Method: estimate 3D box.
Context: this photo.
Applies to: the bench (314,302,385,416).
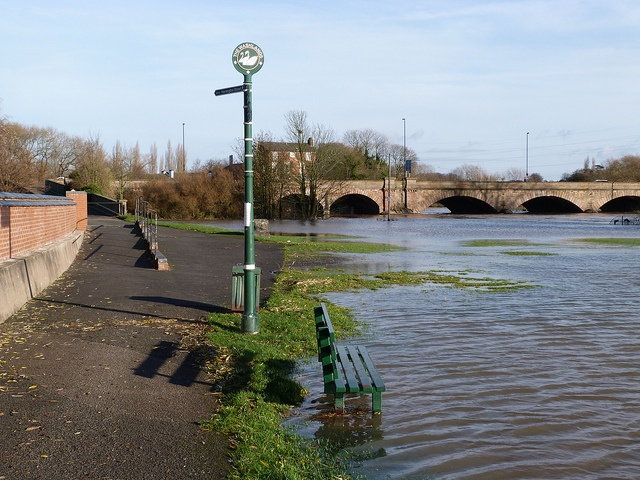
[{"bbox_3d":[0.392,1.749,9.415,0.840,0.978,2.329,-2,8,-6],"label":"bench"}]
